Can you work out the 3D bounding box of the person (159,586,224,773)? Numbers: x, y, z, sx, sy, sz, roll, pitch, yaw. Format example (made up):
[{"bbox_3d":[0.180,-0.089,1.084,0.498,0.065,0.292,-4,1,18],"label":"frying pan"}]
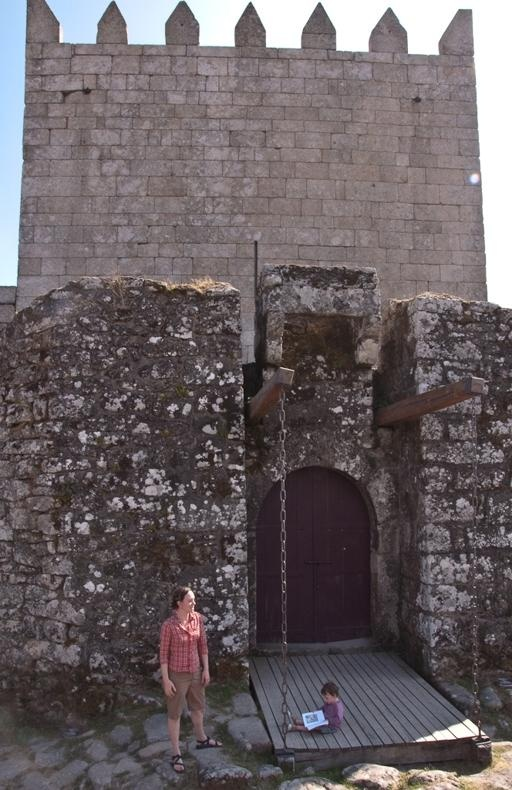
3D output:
[{"bbox_3d":[-0.429,1.785,5.489,0.333,1.112,0.494,-2,-9,8],"label":"person"}]

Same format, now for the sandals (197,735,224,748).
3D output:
[{"bbox_3d":[-0.295,2.227,5.583,0.175,0.077,0.065,1,-6,-15],"label":"sandals"}]

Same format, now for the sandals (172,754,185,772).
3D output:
[{"bbox_3d":[-0.485,2.282,5.358,0.081,0.107,0.116,1,-9,-8],"label":"sandals"}]

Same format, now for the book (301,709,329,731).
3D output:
[{"bbox_3d":[0.396,2.196,5.808,0.174,0.121,0.087,-1,-9,1],"label":"book"}]
